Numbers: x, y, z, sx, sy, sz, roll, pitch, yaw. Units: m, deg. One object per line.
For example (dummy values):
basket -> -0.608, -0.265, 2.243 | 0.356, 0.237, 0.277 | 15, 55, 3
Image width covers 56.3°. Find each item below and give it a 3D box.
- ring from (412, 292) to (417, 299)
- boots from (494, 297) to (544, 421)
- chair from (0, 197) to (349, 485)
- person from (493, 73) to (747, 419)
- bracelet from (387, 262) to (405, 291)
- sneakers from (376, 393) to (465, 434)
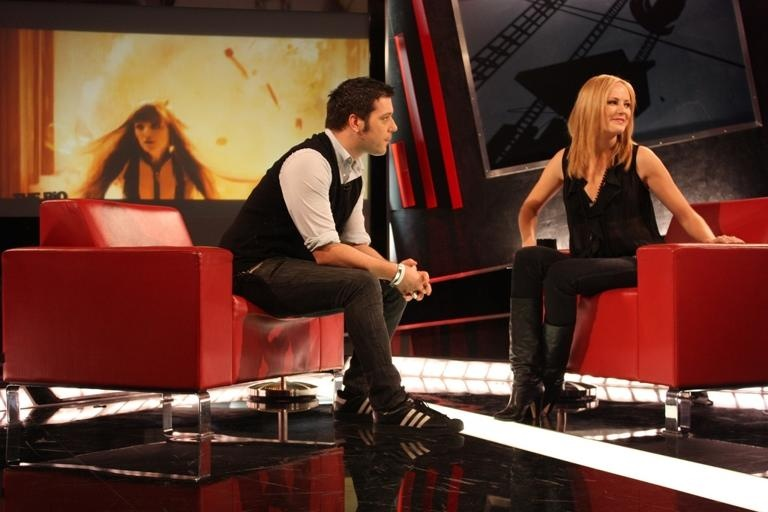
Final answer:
ring -> 0.138, 0.177, 3.190 | 0.006, 0.024, 0.023 | -8, -36, -38
boots -> 0.605, 0.460, 3.207 | 0.198, 0.530, 0.194 | 2, 7, 19
chair -> -0.820, 0.248, 3.389 | 1.168, 1.264, 1.479 | -2, -2, 21
person -> 1.031, -0.056, 3.361 | 1.116, 1.508, 1.000 | -6, 9, -18
bracelet -> 0.079, 0.092, 3.161 | 0.071, 0.099, 0.100 | 21, 1, 3
sneakers -> 0.147, 0.681, 3.088 | 0.410, 0.153, 0.143 | 0, -5, 3
